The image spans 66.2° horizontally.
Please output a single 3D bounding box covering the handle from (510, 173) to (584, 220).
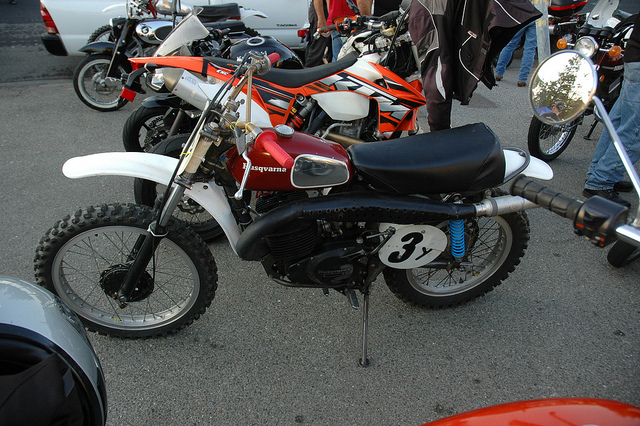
[{"bbox_3d":[1.169,-0.068,2.521,0.116,0.122,0.373,-53,46,0],"label":"handle"}]

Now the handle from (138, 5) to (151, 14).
[{"bbox_3d":[-2.172,-2.506,6.058,0.031,0.112,0.029,-50,58,21],"label":"handle"}]

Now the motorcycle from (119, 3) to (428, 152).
[{"bbox_3d":[-0.454,-1.319,4.893,2.585,1.630,1.647,0,49,-10],"label":"motorcycle"}]

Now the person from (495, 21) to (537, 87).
[{"bbox_3d":[3.167,-2.674,7.814,0.491,0.310,1.417,15,74,25],"label":"person"}]

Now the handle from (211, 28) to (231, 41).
[{"bbox_3d":[-1.136,-2.040,5.610,0.084,0.095,0.280,3,32,19],"label":"handle"}]
